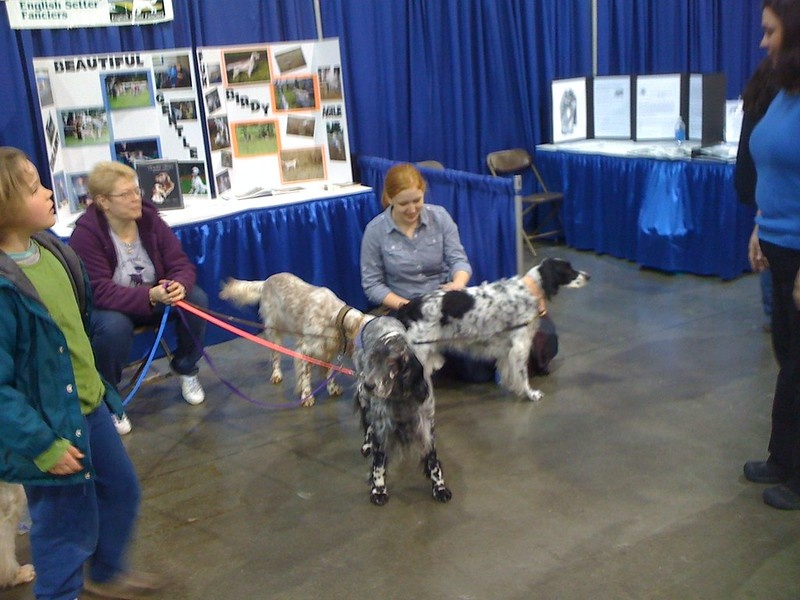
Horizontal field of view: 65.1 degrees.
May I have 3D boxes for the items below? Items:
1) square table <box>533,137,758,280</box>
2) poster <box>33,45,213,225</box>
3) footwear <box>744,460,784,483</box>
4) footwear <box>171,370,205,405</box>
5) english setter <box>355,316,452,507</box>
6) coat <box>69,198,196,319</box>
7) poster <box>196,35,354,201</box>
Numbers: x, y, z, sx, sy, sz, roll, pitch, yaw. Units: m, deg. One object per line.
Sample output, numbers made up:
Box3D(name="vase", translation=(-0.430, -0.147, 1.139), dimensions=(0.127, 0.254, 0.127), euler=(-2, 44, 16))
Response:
Box3D(name="square table", translation=(2.436, -0.866, 6.193), dimensions=(0.434, 1.173, 1.772), euler=(-20, 21, -37))
Box3D(name="poster", translation=(-2.134, -1.279, 4.750), dimensions=(1.509, 1.773, 0.020), euler=(-7, 15, -19))
Box3D(name="footwear", translation=(1.851, 0.863, 3.219), dimensions=(0.198, 0.085, 0.084), euler=(1, -27, 47))
Box3D(name="footwear", translation=(-1.511, 0.586, 4.472), dimensions=(0.106, 0.130, 0.285), euler=(-21, 60, -29))
Box3D(name="english setter", translation=(-0.011, 0.589, 3.100), dimensions=(0.440, 1.031, 0.508), euler=(-4, 17, 10))
Box3D(name="coat", translation=(-1.758, -0.293, 4.070), dimensions=(0.773, 0.677, 0.715), euler=(-20, 47, -42))
Box3D(name="poster", translation=(-1.099, -1.515, 5.351), dimensions=(1.194, 1.408, 0.060), euler=(-7, 15, -14))
